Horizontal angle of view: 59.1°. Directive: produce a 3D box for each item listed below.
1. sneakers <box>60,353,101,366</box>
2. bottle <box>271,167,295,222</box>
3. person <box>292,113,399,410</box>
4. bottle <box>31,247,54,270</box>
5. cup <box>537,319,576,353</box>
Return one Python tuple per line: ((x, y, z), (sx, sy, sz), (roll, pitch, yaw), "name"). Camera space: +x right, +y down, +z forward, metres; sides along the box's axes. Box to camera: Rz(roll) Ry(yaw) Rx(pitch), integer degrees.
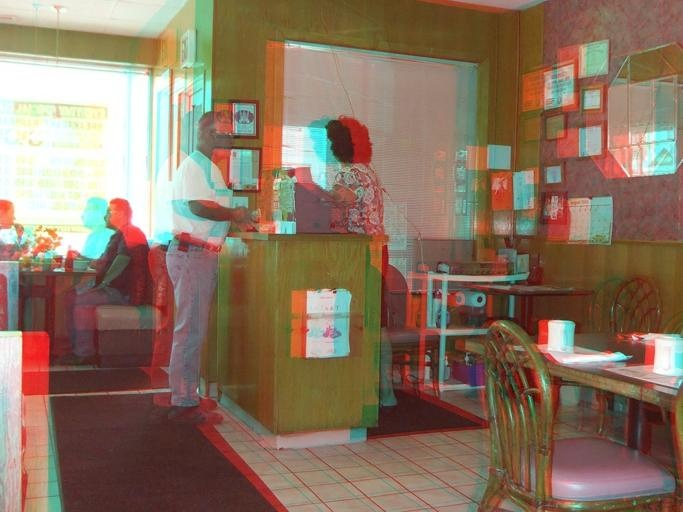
((-1.068, 0.425, 2.429), (0.110, 0.038, 0.058), (3, -2, -21), "sneakers")
((-0.250, -0.262, 2.582), (0.099, 0.221, 0.075), (-1, 1, -8), "bottle")
((0.095, 0.052, 2.687), (0.387, 1.313, 0.173), (-2, 1, -41), "person")
((-1.175, 0.014, 2.359), (0.071, 0.137, 0.072), (3, 3, 0), "bottle")
((0.855, 0.326, 2.404), (0.161, 0.178, 0.165), (1, -4, 0), "cup")
